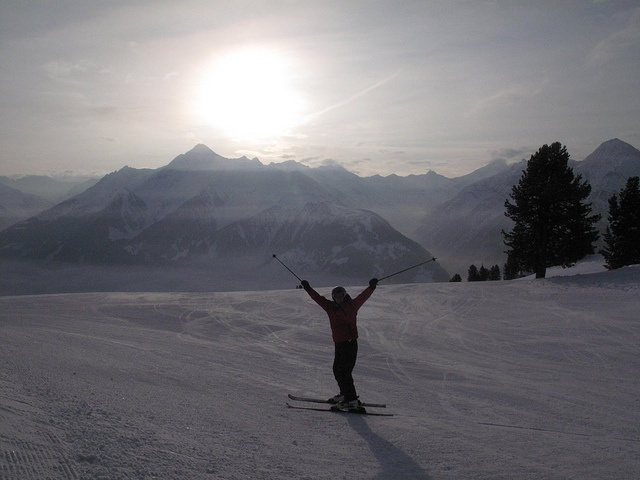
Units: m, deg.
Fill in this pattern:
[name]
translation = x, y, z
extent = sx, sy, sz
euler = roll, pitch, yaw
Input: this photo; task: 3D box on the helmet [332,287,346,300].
[helmet]
translation = 0.638, 1.783, 19.193
extent = 0.399, 0.432, 0.479
euler = -3, 9, 6
